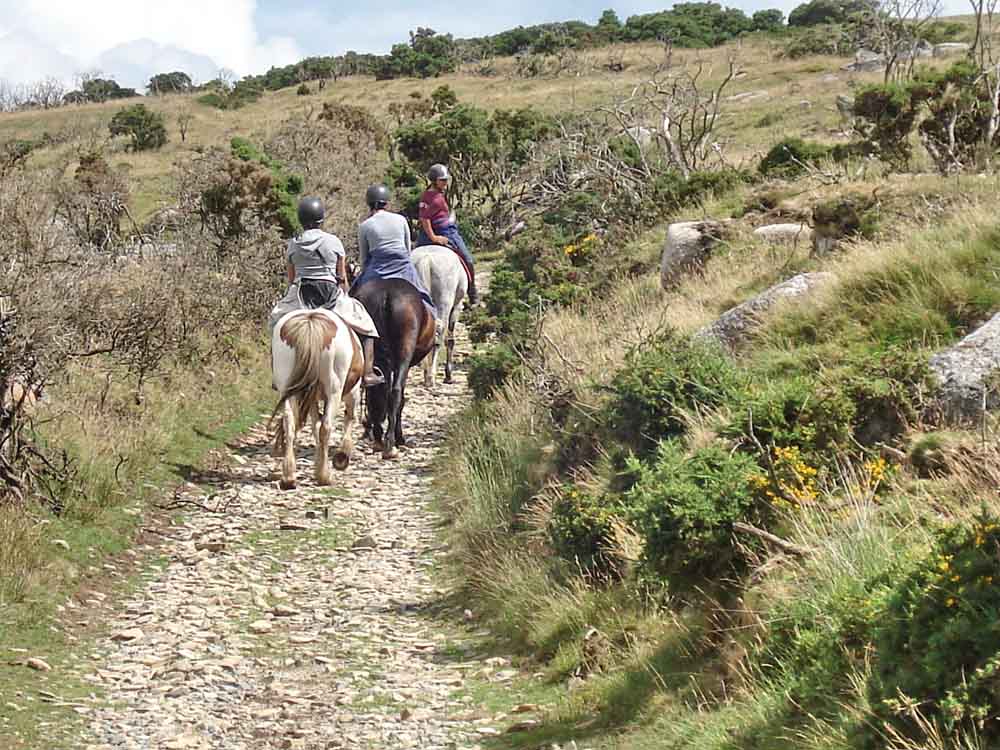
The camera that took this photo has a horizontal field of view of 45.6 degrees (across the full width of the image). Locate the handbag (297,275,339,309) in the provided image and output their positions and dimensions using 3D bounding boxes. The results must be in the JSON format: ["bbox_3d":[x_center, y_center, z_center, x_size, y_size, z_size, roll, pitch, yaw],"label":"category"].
[{"bbox_3d":[-2.592,-1.198,17.061,0.595,0.480,0.362,-1,0,-13],"label":"handbag"}]

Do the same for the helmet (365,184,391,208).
[{"bbox_3d":[-1.922,-2.852,18.732,0.285,0.325,0.333,8,29,-3],"label":"helmet"}]

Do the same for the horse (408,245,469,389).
[{"bbox_3d":[-1.008,-1.461,22.757,0.801,2.737,3.403,3,6,11],"label":"horse"}]

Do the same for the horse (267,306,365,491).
[{"bbox_3d":[-2.624,0.316,16.749,1.362,2.537,0.830,-9,16,-30],"label":"horse"}]

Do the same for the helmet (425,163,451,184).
[{"bbox_3d":[-1.101,-3.663,21.599,0.331,0.314,0.426,-3,15,-8],"label":"helmet"}]

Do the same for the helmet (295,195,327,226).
[{"bbox_3d":[-2.718,-2.325,16.935,0.346,0.452,0.441,-7,16,-23],"label":"helmet"}]
